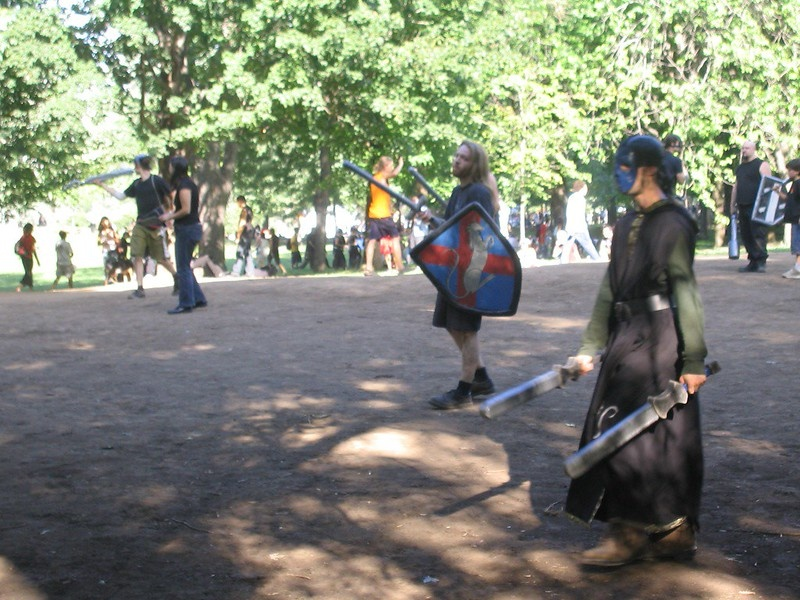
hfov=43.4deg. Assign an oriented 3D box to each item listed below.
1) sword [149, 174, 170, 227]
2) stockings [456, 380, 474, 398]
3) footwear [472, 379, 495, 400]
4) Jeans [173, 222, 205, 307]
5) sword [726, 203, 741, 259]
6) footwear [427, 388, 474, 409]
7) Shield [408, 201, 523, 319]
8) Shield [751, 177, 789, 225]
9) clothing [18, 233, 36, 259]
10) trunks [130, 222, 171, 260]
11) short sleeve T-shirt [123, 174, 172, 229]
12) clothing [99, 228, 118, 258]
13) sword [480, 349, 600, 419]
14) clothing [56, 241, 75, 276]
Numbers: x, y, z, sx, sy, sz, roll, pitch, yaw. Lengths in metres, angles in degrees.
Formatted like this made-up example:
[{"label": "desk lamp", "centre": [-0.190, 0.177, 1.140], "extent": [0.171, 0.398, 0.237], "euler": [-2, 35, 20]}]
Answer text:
[{"label": "sword", "centre": [-3.209, -1.320, 13.408], "extent": [0.305, 0.613, 0.458], "euler": [-18, 28, -5]}, {"label": "stockings", "centre": [0.503, 0.683, 7.697], "extent": [0.086, 0.124, 0.134], "euler": [5, 23, -33]}, {"label": "footwear", "centre": [0.646, 0.698, 7.960], "extent": [0.232, 0.140, 0.113], "euler": [1, 5, 5]}, {"label": "Jeans", "centre": [-2.683, -0.424, 12.767], "extent": [0.353, 1.110, 0.761], "euler": [-2, 13, -12]}, {"label": "sword", "centre": [5.784, -1.091, 17.430], "extent": [0.190, 0.725, 0.179], "euler": [0, 0, 40]}, {"label": "footwear", "centre": [0.391, 0.768, 7.721], "extent": [0.306, 0.113, 0.140], "euler": [2, -3, -16]}, {"label": "Shield", "centre": [0.501, -0.368, 7.433], "extent": [0.808, 0.907, 0.199], "euler": [-14, 50, -9]}, {"label": "Shield", "centre": [5.371, -1.427, 14.621], "extent": [0.639, 0.773, 0.118], "euler": [14, 20, 25]}, {"label": "clothing", "centre": [-9.092, -1.316, 24.372], "extent": [0.304, 0.584, 0.705], "euler": [-3, 13, -16]}, {"label": "trunks", "centre": [-3.453, -0.769, 13.721], "extent": [0.514, 0.530, 0.273], "euler": [-2, -16, -20]}, {"label": "short sleeve T-shirt", "centre": [-3.461, -1.306, 13.542], "extent": [0.847, 0.687, 0.425], "euler": [1, 6, 14]}, {"label": "clothing", "centre": [-7.561, -1.540, 26.237], "extent": [0.635, 0.931, 0.251], "euler": [-10, -16, 30]}, {"label": "sword", "centre": [0.999, 0.621, 7.195], "extent": [1.330, 0.287, 0.250], "euler": [-19, 8, -32]}, {"label": "clothing", "centre": [-8.362, -1.037, 24.936], "extent": [0.384, 0.948, 0.788], "euler": [-4, 14, -19]}]
